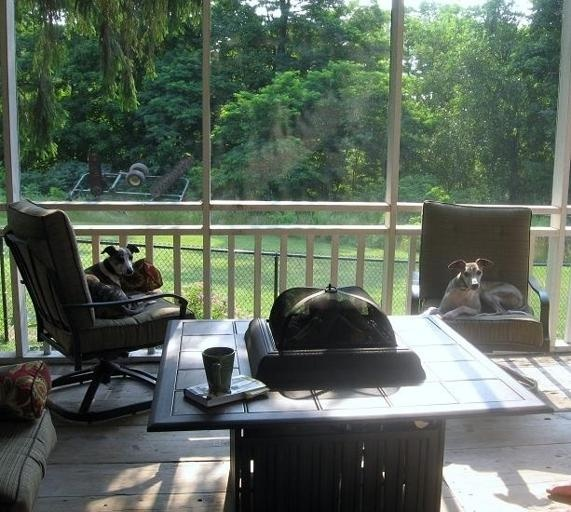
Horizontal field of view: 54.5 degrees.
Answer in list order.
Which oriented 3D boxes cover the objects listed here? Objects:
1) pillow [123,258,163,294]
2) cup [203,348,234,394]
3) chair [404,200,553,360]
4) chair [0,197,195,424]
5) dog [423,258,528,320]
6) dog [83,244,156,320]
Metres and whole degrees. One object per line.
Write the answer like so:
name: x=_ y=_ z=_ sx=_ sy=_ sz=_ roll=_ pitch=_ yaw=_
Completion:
pillow: x=-0.850 y=0.144 z=3.341 sx=0.216 sy=0.191 sz=0.155 roll=-37 pitch=36 yaw=-29
cup: x=-0.200 y=0.362 z=1.746 sx=0.095 sy=0.115 sz=0.136 roll=1 pitch=9 yaw=3
chair: x=1.235 y=0.095 z=3.414 sx=0.778 sy=0.954 sz=0.979 roll=1 pitch=5 yaw=6
chair: x=-1.095 y=0.232 z=3.365 sx=1.305 sy=1.359 sz=0.936 roll=1 pitch=7 yaw=-36
dog: x=1.112 y=0.194 z=3.223 sx=0.579 sy=0.271 sz=0.363 roll=5 pitch=-6 yaw=-38
dog: x=-1.032 y=0.101 z=3.258 sx=0.238 sy=0.293 sz=0.569 roll=-10 pitch=6 yaw=-41
